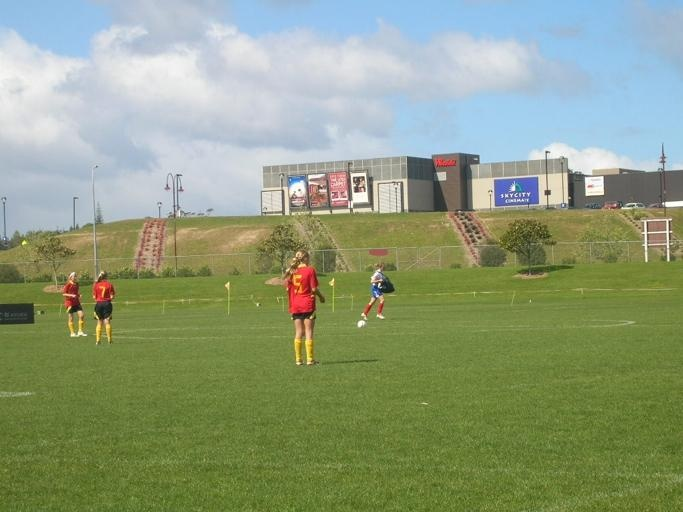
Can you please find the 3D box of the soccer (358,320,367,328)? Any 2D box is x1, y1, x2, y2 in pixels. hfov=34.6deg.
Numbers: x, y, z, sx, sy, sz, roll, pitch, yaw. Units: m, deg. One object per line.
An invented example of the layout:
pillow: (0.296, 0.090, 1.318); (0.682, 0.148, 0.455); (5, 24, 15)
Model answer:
soccer: (0.571, 2.147, 33.785); (0.215, 0.209, 0.213); (-10, -33, 7)

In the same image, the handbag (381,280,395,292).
handbag: (1.611, 1.108, 37.841); (0.482, 0.469, 0.323); (1, -8, -7)

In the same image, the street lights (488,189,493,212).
street lights: (20.679, -7.689, 152.973); (0.829, 2.670, 0.407); (6, 13, 35)

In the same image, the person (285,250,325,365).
person: (-0.850, 1.191, 24.499); (0.727, 2.661, 0.698); (-1, 10, 1)

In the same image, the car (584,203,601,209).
car: (32.488, -6.252, 141.893); (1.998, 0.881, 1.191); (2, 1, -20)
